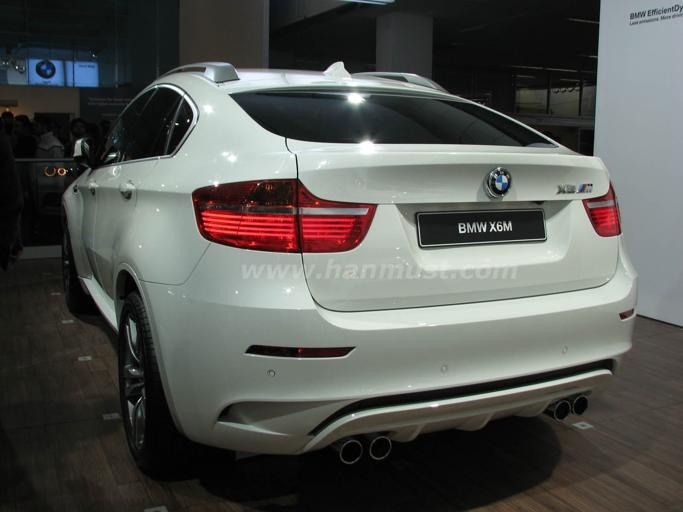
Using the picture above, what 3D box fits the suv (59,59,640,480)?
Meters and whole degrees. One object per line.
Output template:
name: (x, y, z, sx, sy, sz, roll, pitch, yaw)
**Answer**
suv: (-0.460, -0.133, 2.906, 1.456, 1.372, 3.077, -2, 6, -27)
